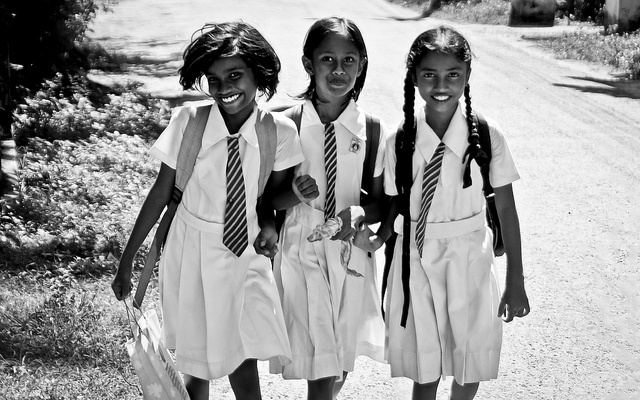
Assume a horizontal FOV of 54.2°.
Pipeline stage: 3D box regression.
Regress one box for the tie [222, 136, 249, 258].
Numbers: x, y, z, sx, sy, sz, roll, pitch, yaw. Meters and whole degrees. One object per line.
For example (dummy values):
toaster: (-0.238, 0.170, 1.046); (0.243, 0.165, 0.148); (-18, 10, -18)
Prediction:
tie: (-0.604, 0.042, 4.464); (0.173, 0.692, 0.205); (-1, 17, -9)
